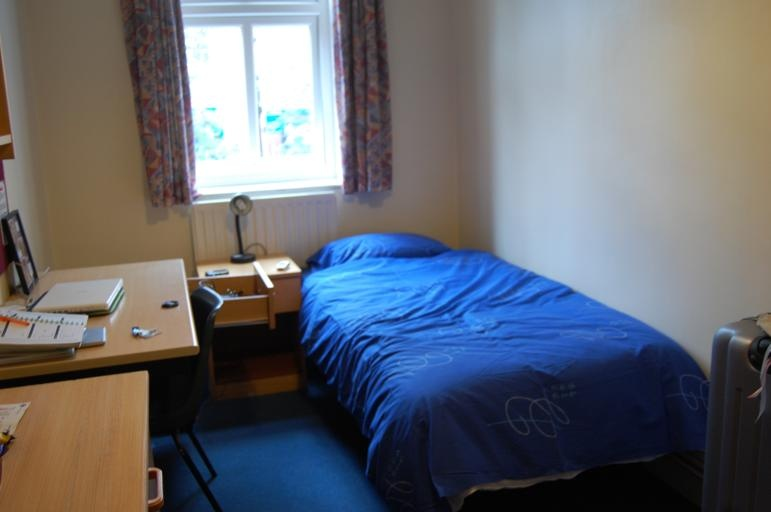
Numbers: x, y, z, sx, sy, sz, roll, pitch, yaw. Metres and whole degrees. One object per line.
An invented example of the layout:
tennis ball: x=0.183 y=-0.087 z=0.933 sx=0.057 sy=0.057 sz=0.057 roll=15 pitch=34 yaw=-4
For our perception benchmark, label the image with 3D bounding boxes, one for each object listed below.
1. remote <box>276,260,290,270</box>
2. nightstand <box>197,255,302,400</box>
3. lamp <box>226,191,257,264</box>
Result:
remote: x=-0.715 y=0.065 z=3.980 sx=0.055 sy=0.024 sz=0.096 roll=-2 pitch=20 yaw=2
nightstand: x=-0.925 y=0.439 z=3.964 sx=0.633 sy=0.731 sz=0.955 roll=-4 pitch=12 yaw=-20
lamp: x=-1.049 y=-0.200 z=4.121 sx=0.223 sy=0.500 sz=0.260 roll=-9 pitch=16 yaw=-12
